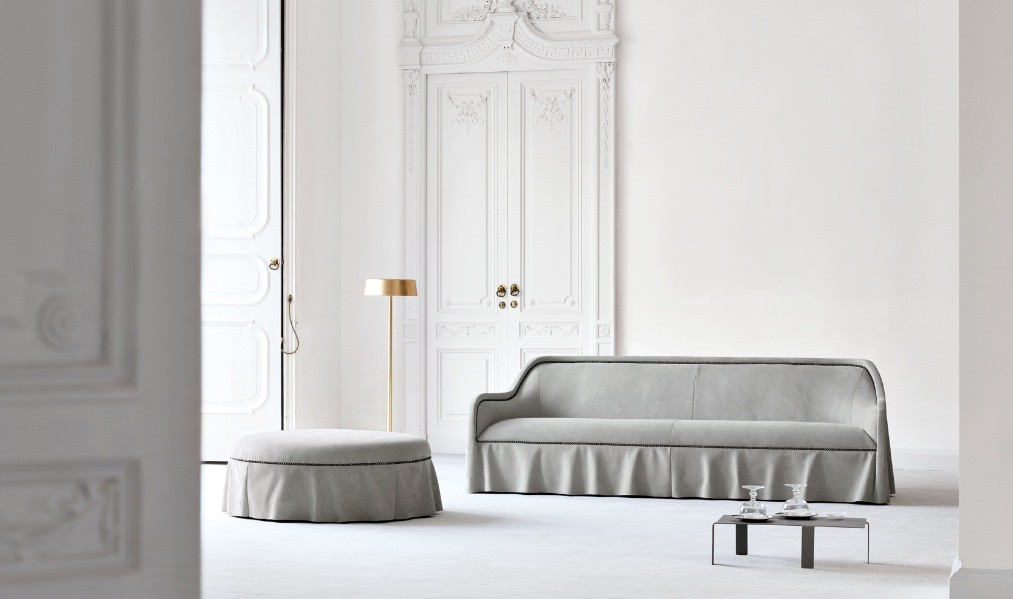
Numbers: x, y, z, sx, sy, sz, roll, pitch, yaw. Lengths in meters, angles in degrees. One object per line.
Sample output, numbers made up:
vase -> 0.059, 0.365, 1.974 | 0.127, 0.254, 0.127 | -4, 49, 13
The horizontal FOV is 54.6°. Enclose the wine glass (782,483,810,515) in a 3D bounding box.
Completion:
wine glass -> 1.665, 1.141, 5.577 | 0.155, 0.132, 0.267 | 1, 3, 17

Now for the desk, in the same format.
desk -> 1.661, 1.326, 5.729 | 0.900, 0.289, 0.878 | 1, 3, 13
